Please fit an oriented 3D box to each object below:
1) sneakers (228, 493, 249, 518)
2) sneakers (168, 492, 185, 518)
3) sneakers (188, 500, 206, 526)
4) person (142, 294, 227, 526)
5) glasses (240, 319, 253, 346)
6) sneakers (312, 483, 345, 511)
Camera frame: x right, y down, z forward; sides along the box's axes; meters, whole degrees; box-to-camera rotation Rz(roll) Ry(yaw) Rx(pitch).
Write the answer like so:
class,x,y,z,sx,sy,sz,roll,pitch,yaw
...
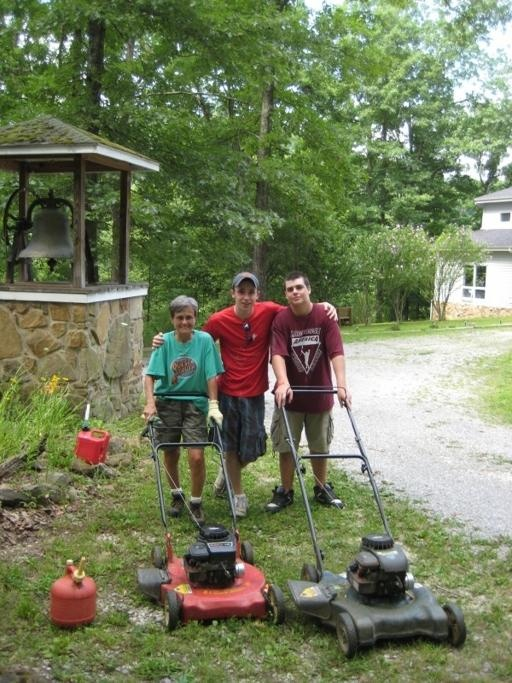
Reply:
class,x,y,z,sx,sy,sz,roll,pitch,yaw
sneakers,-0.134,1.179,4.634,0.123,0.143,0.348,-4,-19,0
sneakers,-0.572,1.183,4.631,0.109,0.176,0.268,-2,-17,3
sneakers,-0.399,1.172,4.405,0.078,0.213,0.093,-6,-35,-27
person,-0.500,0.472,4.407,0.520,1.567,0.792,3,6,-2
glasses,-0.062,-0.061,4.544,0.089,0.148,0.064,-6,8,18
sneakers,0.544,1.197,4.955,0.114,0.133,0.326,-5,-5,-20
